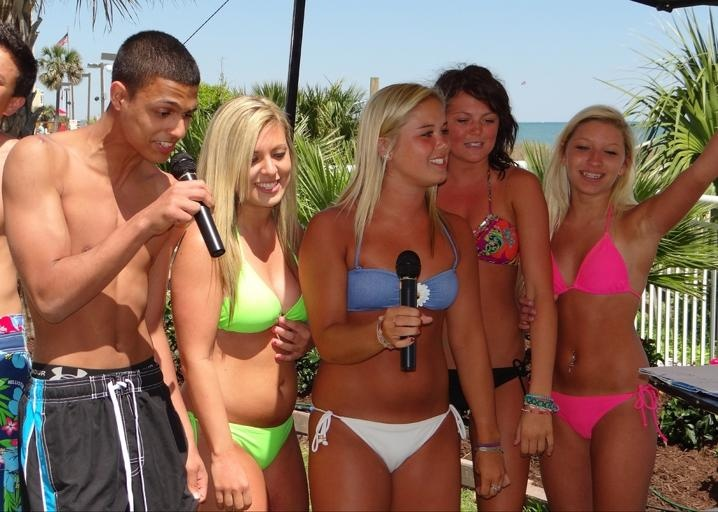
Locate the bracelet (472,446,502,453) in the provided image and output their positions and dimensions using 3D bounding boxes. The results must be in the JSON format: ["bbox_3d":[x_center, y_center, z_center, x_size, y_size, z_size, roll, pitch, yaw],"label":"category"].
[{"bbox_3d":[0.742,1.117,3.189,0.079,0.020,0.083,1,-6,-5],"label":"bracelet"}]

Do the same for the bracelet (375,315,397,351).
[{"bbox_3d":[0.128,0.386,2.739,0.112,0.145,0.053,-3,-2,-26],"label":"bracelet"}]

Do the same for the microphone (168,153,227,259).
[{"bbox_3d":[-0.781,-0.223,2.669,0.124,0.583,0.137,-28,-17,-2],"label":"microphone"}]

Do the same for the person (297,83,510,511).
[{"bbox_3d":[0.230,0.198,3.089,1.003,2.373,0.657,0,2,-38],"label":"person"}]

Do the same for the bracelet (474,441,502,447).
[{"bbox_3d":[0.745,1.087,3.192,0.084,0.020,0.083,1,-6,-4],"label":"bracelet"}]

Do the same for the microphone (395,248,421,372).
[{"bbox_3d":[0.240,0.292,2.793,0.115,0.633,0.319,1,2,4],"label":"microphone"}]

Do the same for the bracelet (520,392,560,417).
[{"bbox_3d":[1.085,0.893,3.328,0.188,0.116,0.051,1,2,7],"label":"bracelet"}]

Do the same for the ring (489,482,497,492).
[{"bbox_3d":[0.770,1.327,3.163,0.040,0.038,0.011,-3,-1,-2],"label":"ring"}]

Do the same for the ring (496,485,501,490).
[{"bbox_3d":[0.794,1.331,3.168,0.027,0.025,0.008,0,4,-38],"label":"ring"}]
